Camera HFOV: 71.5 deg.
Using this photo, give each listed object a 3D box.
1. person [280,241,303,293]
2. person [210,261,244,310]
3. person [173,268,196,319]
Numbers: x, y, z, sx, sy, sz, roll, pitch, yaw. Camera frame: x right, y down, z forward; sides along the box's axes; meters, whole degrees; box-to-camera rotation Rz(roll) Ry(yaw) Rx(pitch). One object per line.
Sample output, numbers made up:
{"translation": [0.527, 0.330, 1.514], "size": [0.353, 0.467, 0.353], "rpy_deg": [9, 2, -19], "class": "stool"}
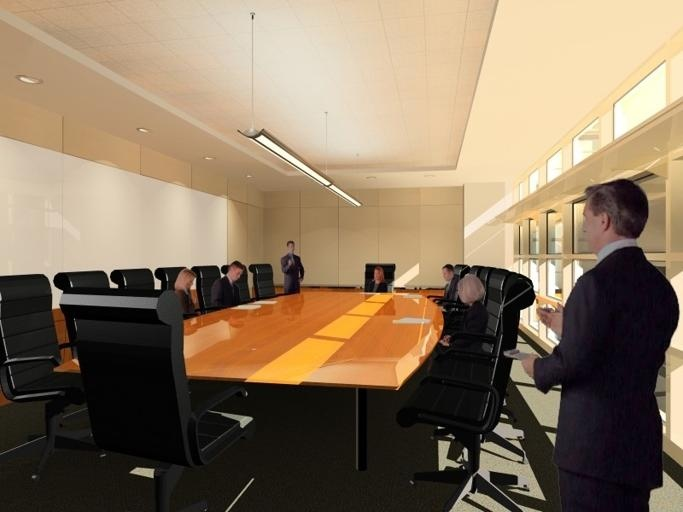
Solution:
{"translation": [-0.980, 0.231, 9.414], "size": [0.408, 1.072, 0.967], "rpy_deg": [-1, 8, -7], "class": "person"}
{"translation": [-1.534, 0.383, 6.323], "size": [0.339, 0.545, 0.708], "rpy_deg": [0, 8, -2], "class": "person"}
{"translation": [-1.790, 0.426, 5.439], "size": [0.235, 0.550, 0.973], "rpy_deg": [-3, 9, -19], "class": "person"}
